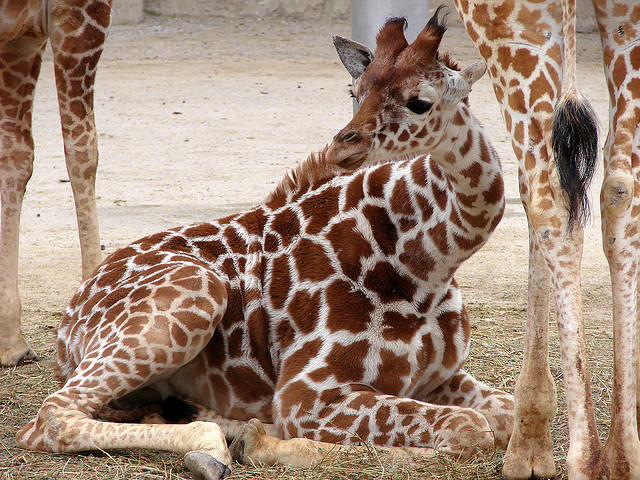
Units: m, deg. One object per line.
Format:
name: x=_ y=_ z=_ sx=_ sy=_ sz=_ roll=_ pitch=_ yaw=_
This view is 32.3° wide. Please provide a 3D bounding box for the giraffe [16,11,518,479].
giraffe: x=-0.207 y=0.275 z=5.700 sx=2.699 sy=2.195 sz=2.203 roll=1 pitch=-1 yaw=-31
